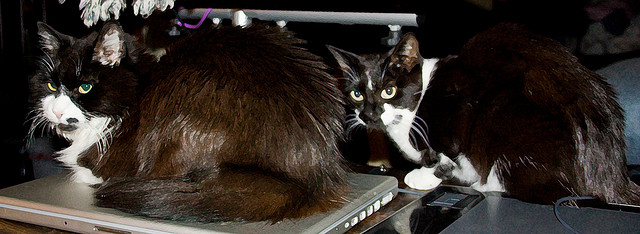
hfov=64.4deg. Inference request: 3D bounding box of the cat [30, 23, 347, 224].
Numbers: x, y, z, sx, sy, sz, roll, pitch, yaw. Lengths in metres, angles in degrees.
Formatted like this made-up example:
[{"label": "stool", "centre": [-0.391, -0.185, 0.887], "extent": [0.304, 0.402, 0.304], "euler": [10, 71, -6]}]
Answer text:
[{"label": "cat", "centre": [-0.561, 0.018, 2.386], "extent": [1.626, 0.568, 0.893], "euler": [1, 22, 1]}]
